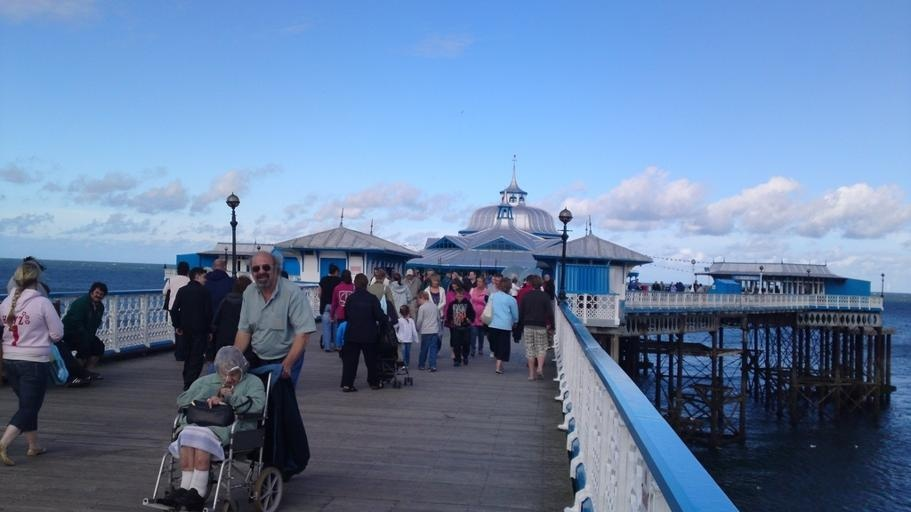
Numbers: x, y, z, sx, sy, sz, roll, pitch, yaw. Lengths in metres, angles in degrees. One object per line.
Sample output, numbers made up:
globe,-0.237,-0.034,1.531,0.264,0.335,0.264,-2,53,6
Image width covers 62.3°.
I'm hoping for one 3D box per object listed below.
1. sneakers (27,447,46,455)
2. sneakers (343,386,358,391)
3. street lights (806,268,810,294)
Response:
sneakers,-7.147,3.312,12.852,0.127,0.097,0.263,-3,-10,28
sneakers,-2.395,2.988,17.115,0.121,0.130,0.359,1,1,31
street lights,29.559,2.061,63.249,0.409,2.077,0.739,3,1,25
